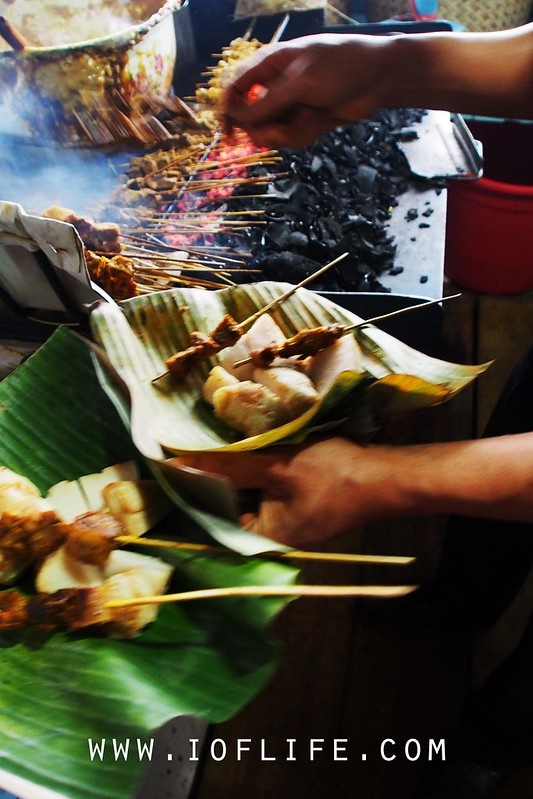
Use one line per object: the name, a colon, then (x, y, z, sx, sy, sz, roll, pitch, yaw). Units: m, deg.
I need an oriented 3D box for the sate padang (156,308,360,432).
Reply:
sate padang: (0.001, -0.009, 0.955, 0.229, 0.078, 0.188, -24, 29, 24)
